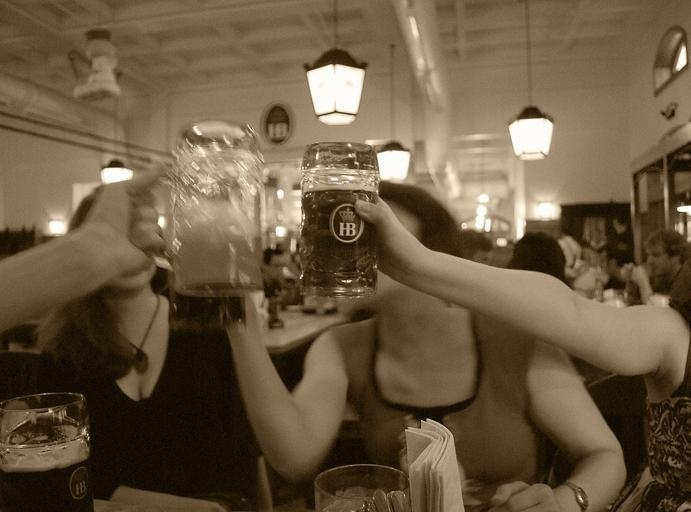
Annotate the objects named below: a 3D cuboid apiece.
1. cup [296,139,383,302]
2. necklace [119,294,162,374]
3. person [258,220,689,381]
[{"bbox_3d":[-0.017,-0.091,1.595,0.202,0.398,0.178,1,1,-1],"label":"cup"},{"bbox_3d":[-0.675,0.258,2.126,0.121,0.213,0.052,7,-12,-15],"label":"necklace"},{"bbox_3d":[0.500,0.136,1.737,0.970,0.472,0.186,1,1,-13],"label":"person"}]
